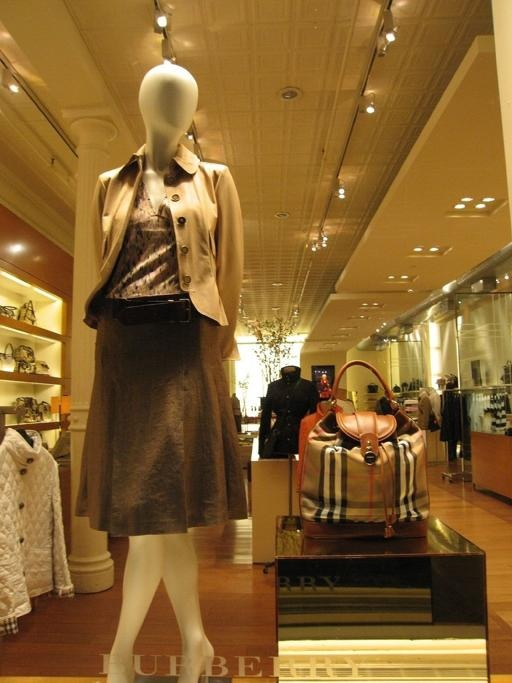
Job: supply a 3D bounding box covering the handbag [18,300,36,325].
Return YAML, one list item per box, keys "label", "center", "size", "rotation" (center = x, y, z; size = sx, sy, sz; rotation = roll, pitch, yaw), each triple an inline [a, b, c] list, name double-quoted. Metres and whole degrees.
- label: "handbag"
  center: [-2.345, -0.315, 5.307]
  size: [0.145, 0.270, 0.219]
  rotation: [2, -7, -13]

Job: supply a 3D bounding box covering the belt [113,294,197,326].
- label: "belt"
  center: [-0.211, -0.059, 1.074]
  size: [0.109, 0.038, 0.075]
  rotation: [-3, -2, 1]

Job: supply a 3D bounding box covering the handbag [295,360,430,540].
- label: "handbag"
  center: [0.276, 0.270, 1.375]
  size: [0.329, 0.455, 0.305]
  rotation: [0, -7, 5]

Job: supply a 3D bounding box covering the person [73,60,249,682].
- label: "person"
  center: [-0.204, 0.038, 1.225]
  size: [0.398, 1.461, 0.390]
  rotation: [3, -8, -17]

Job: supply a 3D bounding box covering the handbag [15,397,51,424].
- label: "handbag"
  center: [-2.259, 0.688, 5.241]
  size: [0.281, 0.245, 0.613]
  rotation: [2, -7, -13]
